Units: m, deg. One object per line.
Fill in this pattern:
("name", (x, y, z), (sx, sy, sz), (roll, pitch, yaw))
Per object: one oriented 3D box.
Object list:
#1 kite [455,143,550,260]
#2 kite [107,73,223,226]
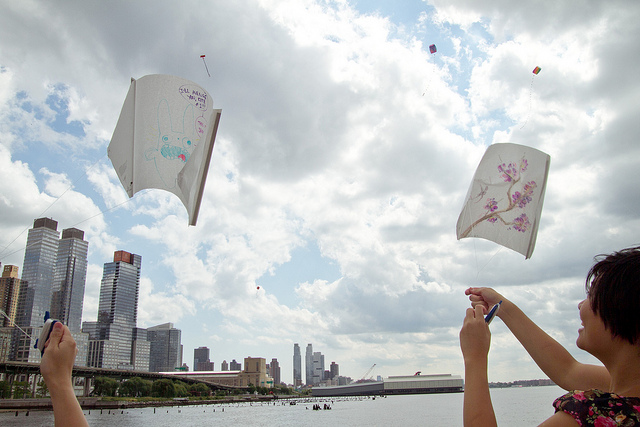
("kite", (4.109, -0.352, 9.188), (1.733, 2.544, 1.519), (14, 14, 18))
("kite", (-2.764, -1.375, 7.352), (1.314, 2.346, 1.789), (14, -9, 44))
